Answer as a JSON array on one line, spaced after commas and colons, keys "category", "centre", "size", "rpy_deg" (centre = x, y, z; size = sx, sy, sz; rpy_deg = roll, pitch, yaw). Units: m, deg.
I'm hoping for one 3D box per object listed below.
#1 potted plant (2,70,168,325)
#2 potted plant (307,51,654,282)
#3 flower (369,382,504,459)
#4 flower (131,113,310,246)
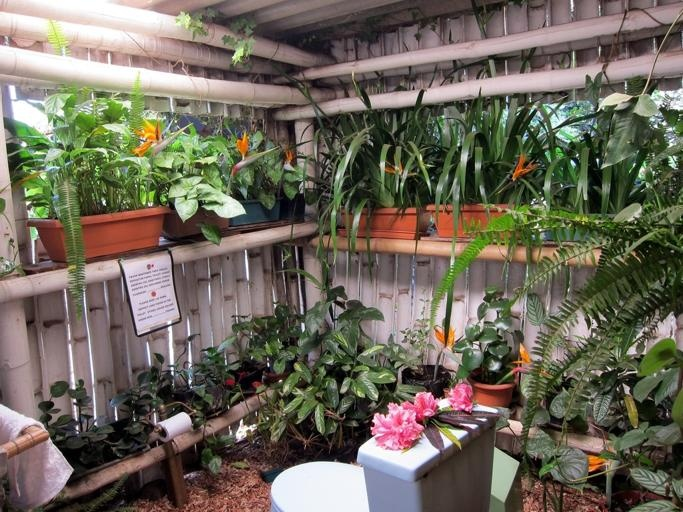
[{"category": "potted plant", "centre": [-1.089, -0.268, 2.328], "size": [0.726, 1.045, 0.998], "rpy_deg": [-11, 29, -33]}, {"category": "potted plant", "centre": [0.496, -0.391, 2.265], "size": [1.290, 0.561, 0.738], "rpy_deg": [1, 7, 23]}, {"category": "flower", "centre": [0.238, 0.430, 1.274], "size": [0.204, 0.070, 0.201], "rpy_deg": [-9, 13, -42]}, {"category": "flower", "centre": [-0.551, -0.382, 2.327], "size": [0.680, 0.506, 0.733], "rpy_deg": [-5, 35, -24]}]
